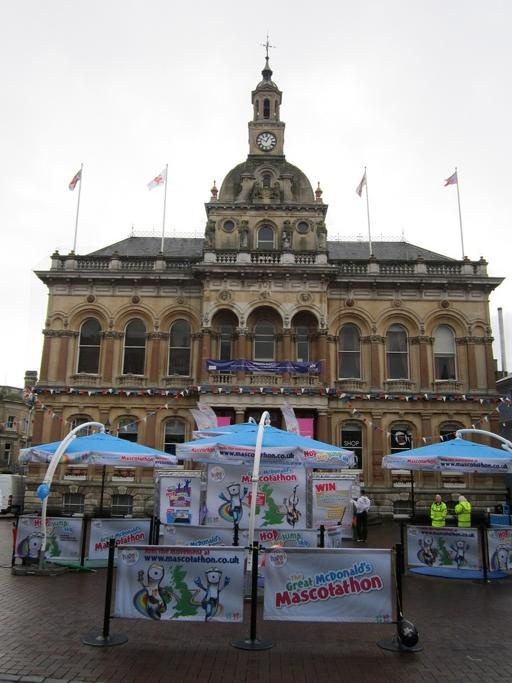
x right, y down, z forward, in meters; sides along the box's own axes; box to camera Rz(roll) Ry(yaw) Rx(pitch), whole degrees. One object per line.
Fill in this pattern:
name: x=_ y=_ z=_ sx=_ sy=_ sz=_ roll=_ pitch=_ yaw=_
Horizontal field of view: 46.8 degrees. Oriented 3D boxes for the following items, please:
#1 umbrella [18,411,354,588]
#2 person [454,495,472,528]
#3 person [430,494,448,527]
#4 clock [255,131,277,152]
umbrella: x=-1.680 y=3.066 z=12.043 sx=6.195 sy=3.164 sz=4.541 roll=-5 pitch=-13 yaw=28
person: x=5.139 y=4.213 z=14.698 sx=0.328 sy=0.747 sz=0.939 roll=-2 pitch=-12 yaw=15
person: x=4.539 y=4.224 z=14.729 sx=0.331 sy=0.734 sz=0.869 roll=-1 pitch=-12 yaw=13
clock: x=0.534 y=-10.179 z=30.183 sx=1.229 sy=1.129 sz=0.088 roll=3 pitch=-18 yaw=6
